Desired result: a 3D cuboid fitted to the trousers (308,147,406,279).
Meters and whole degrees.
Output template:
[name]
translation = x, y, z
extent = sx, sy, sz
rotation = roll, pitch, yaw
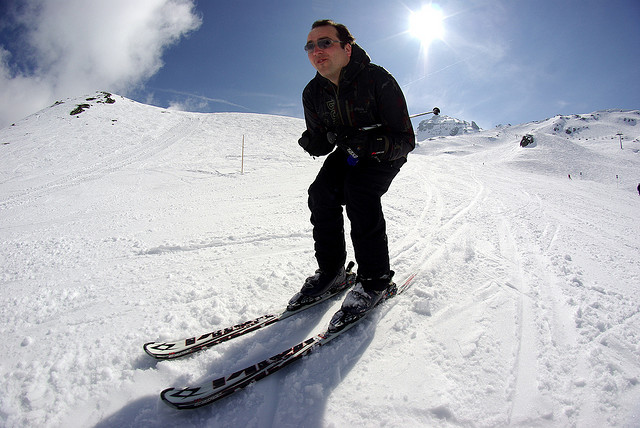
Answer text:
[trousers]
translation = 0.455, 0.018, 5.723
extent = 1.374, 1.689, 0.546
rotation = 21, 21, 26
